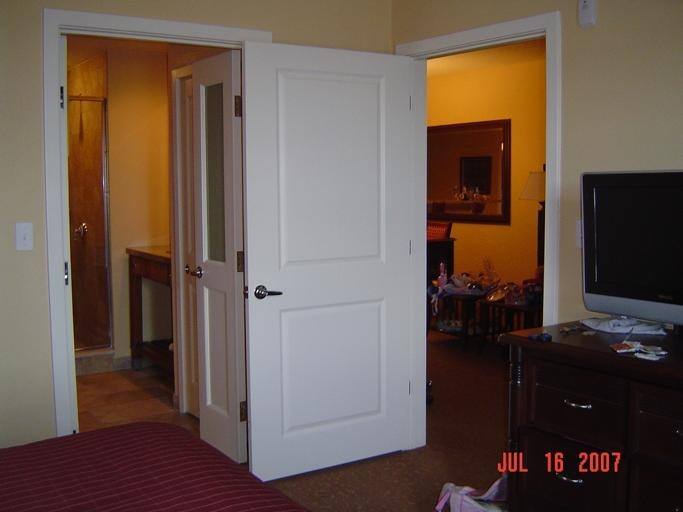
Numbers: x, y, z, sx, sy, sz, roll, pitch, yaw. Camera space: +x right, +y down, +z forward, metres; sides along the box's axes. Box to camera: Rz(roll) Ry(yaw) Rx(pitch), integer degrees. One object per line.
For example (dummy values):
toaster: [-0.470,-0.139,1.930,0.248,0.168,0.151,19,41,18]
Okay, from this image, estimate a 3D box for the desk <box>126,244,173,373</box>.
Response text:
desk: [-1.617,0.498,4.803,0.313,1.141,0.844,-5,8,-33]

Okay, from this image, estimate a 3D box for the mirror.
mirror: [1.719,-1.132,7.218,0.099,1.550,1.461,0,1,-42]
